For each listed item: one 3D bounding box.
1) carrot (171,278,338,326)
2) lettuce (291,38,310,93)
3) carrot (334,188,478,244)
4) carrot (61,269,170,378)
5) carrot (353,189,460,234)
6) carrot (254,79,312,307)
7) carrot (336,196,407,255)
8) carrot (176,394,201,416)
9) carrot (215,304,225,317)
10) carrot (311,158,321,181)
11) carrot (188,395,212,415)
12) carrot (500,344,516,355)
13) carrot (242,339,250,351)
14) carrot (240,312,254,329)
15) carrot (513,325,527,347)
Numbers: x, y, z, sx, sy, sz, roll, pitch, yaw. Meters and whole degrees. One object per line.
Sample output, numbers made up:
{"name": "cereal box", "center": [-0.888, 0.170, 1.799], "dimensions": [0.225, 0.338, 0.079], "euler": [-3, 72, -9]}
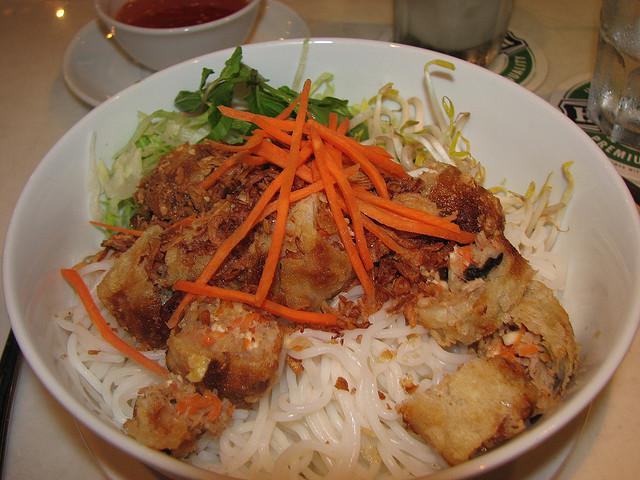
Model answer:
{"name": "carrot", "center": [-0.447, 0.401, 3.866], "dimensions": [0.824, 0.121, 0.121], "euler": [12, 108, -1]}
{"name": "lettuce", "center": [-0.158, -1.413, 4.905], "dimensions": [0.094, 0.055, 0.532], "euler": [14, 109, 0]}
{"name": "carrot", "center": [0.559, -0.147, 3.965], "dimensions": [0.797, 0.117, 0.141], "euler": [18, 82, 3]}
{"name": "carrot", "center": [-1.432, 0.589, 4.045], "dimensions": [1.147, 0.144, 0.159], "euler": [41, 77, 15]}
{"name": "carrot", "center": [0.571, -0.189, 3.961], "dimensions": [0.760, 0.110, 0.110], "euler": [17, 63, -5]}
{"name": "carrot", "center": [-0.239, -0.260, 3.913], "dimensions": [0.178, 0.088, 1.953], "euler": [5, 66, 18]}
{"name": "carrot", "center": [0.330, -0.093, 3.933], "dimensions": [0.102, 0.056, 0.436], "euler": [-41, 87, -23]}
{"name": "carrot", "center": [-0.827, 1.019, 3.688], "dimensions": [0.161, 0.042, 0.076], "euler": [-37, 73, -10]}
{"name": "carrot", "center": [-0.646, 0.459, 3.809], "dimensions": [0.038, 0.013, 0.056], "euler": [11, 74, 5]}
{"name": "carrot", "center": [-0.036, -0.462, 3.986], "dimensions": [0.043, 0.036, 0.173], "euler": [-19, 84, 35]}
{"name": "carrot", "center": [-0.756, 1.026, 3.699], "dimensions": [0.029, 0.102, 0.097], "euler": [45, 64, 8]}
{"name": "carrot", "center": [1.239, 0.724, 3.919], "dimensions": [0.105, 0.021, 0.044], "euler": [17, 72, 8]}
{"name": "carrot", "center": [-0.476, 0.665, 3.760], "dimensions": [0.034, 0.015, 0.070], "euler": [13, 89, 3]}
{"name": "carrot", "center": [-0.468, 0.520, 3.791], "dimensions": [0.051, 0.025, 0.099], "euler": [29, 72, 3]}
{"name": "carrot", "center": [1.315, 0.641, 3.914], "dimensions": [0.049, 0.030, 0.203], "euler": [23, 88, 7]}
